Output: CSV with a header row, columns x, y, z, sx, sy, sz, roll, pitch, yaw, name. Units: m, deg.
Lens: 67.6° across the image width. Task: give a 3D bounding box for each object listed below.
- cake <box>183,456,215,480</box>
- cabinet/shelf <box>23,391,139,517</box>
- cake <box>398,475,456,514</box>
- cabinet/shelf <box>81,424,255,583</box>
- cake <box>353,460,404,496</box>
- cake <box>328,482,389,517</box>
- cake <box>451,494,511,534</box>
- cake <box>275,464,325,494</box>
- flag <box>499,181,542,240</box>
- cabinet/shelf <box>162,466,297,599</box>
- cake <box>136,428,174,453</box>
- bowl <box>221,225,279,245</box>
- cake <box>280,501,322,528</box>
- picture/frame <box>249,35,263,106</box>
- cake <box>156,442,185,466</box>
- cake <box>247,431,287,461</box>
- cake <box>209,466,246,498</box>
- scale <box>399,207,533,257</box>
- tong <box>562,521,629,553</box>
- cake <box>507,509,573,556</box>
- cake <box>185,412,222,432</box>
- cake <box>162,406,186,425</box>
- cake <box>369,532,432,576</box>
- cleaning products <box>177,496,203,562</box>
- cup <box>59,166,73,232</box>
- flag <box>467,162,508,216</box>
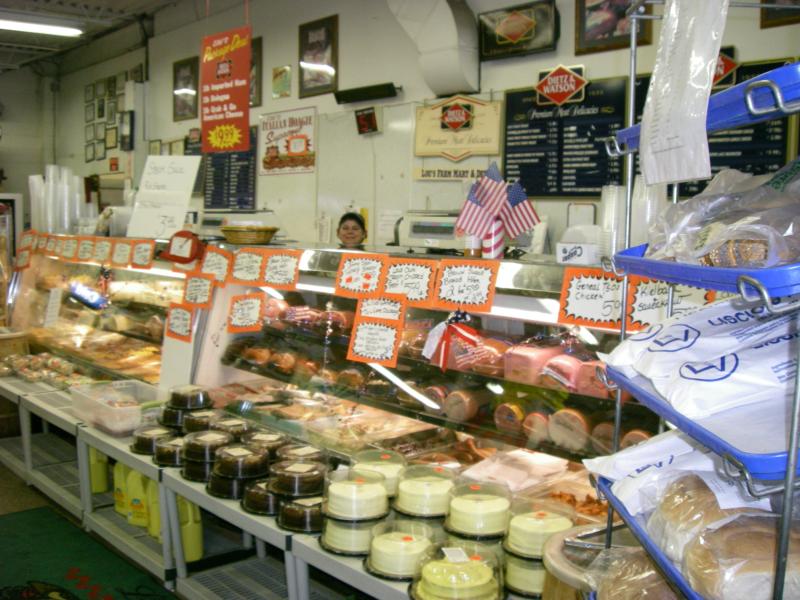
x,y,z,sx,sy,sz,roll,pitch,yaw,name
-0.810,0.686,2.379,0.109,0.054,0.101,6,1,-12,cake
-1.739,0.861,3.259,0.766,0.336,0.421,22,18,35,cabinet/shelf
0.076,0.643,1.947,0.186,0.089,0.129,1,5,6,cake
-1.114,0.997,2.980,0.986,0.561,0.603,16,17,40,cabinet/shelf
-0.072,0.621,2.118,0.145,0.072,0.133,2,-3,-1,cake
-0.138,0.647,1.911,0.199,0.092,0.133,0,5,-6,cake
0.234,0.650,1.799,0.186,0.091,0.115,1,5,7,cake
-0.361,0.649,2.131,0.190,0.080,0.102,-1,5,-10,cake
0.432,-0.330,2.167,0.124,0.211,0.223,2,5,16,flag
-0.694,0.944,2.391,0.699,0.392,0.286,14,18,42,cabinet/shelf
-1.118,0.629,2.685,0.123,0.037,0.114,4,5,-6,cake
-0.760,-0.324,3.007,0.264,0.100,0.211,-1,5,-14,bowl
-0.336,0.728,2.009,0.156,0.081,0.084,0,5,1,cake
-1.544,-2.440,6.415,0.059,0.733,0.183,-4,6,-39,picture/frame
-0.970,0.655,2.520,0.147,0.056,0.139,1,7,-26,cake
-0.557,0.608,2.487,0.107,0.052,0.098,4,-2,0,cake
-0.648,0.692,2.236,0.116,0.040,0.114,8,0,37,cake
0.437,-0.556,4.661,0.528,0.271,0.902,-21,18,-28,scale
0.492,0.606,1.498,0.135,0.028,0.118,-4,5,12,tong
0.377,0.638,1.696,0.141,0.072,0.131,0,0,15,cake
-0.884,0.550,2.666,0.105,0.032,0.096,1,6,-6,cake
-1.065,0.554,2.808,0.128,0.087,0.038,3,5,24,cake
-0.006,0.731,1.722,0.123,0.040,0.113,1,3,-1,cake
-0.926,1.031,2.701,0.113,0.252,0.103,0,-16,-35,cleaning products
-2.421,-0.728,4.354,0.095,0.468,0.191,-2,5,-24,cup
0.304,-0.396,2.121,0.135,0.195,0.156,1,5,8,flag
